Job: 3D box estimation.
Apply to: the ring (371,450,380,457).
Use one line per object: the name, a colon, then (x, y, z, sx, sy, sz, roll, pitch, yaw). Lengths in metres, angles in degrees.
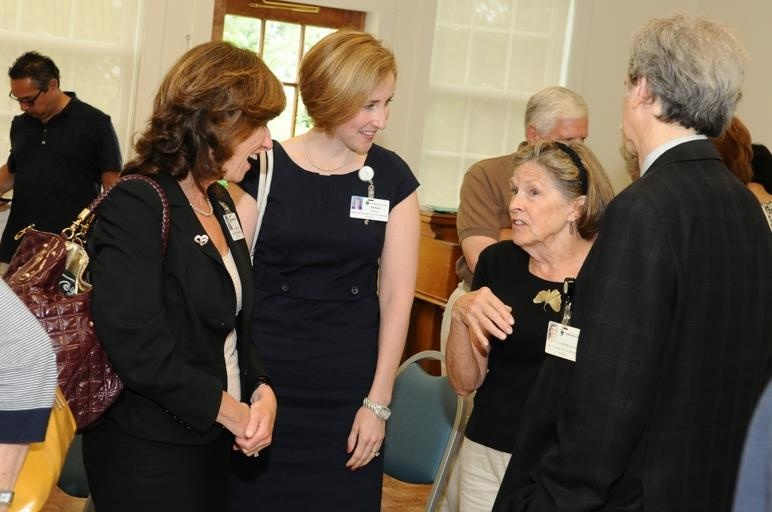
ring: (-0.041, 0.751, 2.351, 0.029, 0.022, 0.007, -23, 9, 2)

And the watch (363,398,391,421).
watch: (-0.028, 0.577, 2.322, 0.088, 0.040, 0.083, 30, 0, 33)

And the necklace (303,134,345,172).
necklace: (-0.229, -0.387, 2.325, 0.115, 0.145, 0.011, 1, -2, -5)

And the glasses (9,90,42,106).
glasses: (-2.412, -1.073, 4.152, 0.181, 0.053, 0.182, 13, 39, 14)
